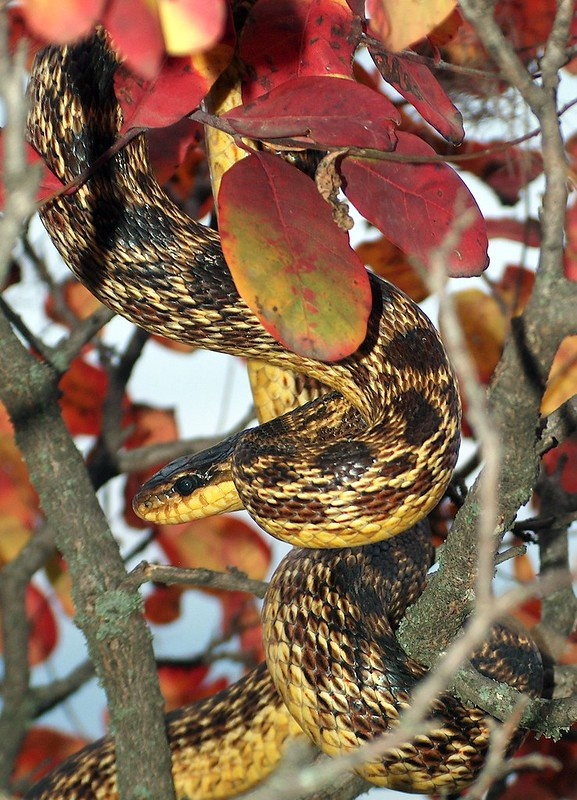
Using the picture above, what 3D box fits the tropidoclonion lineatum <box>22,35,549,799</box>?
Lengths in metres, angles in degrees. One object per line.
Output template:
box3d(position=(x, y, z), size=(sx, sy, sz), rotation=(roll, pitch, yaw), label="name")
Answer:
box3d(position=(-0.079, -0.083, 2.701), size=(0.878, 1.736, 0.453), rotation=(-6, -26, -12), label="tropidoclonion lineatum")
